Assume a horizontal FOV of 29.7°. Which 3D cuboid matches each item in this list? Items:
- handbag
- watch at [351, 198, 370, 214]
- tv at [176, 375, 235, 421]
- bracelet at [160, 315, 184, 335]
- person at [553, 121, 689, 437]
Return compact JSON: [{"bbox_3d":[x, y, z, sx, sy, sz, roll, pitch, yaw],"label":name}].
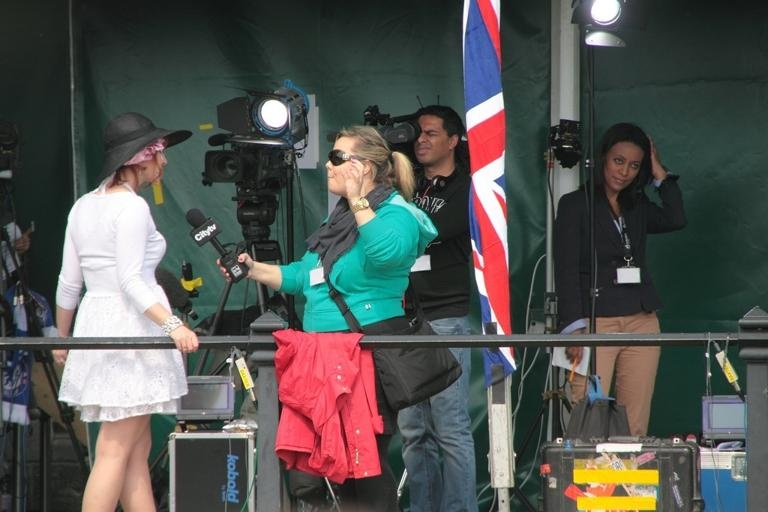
[{"bbox_3d":[0.184,0.679,8.980,0.590,0.603,0.306,0,-7,-20],"label":"handbag"},{"bbox_3d":[-0.162,-0.310,9.039,0.097,0.096,0.036,-31,-23,10],"label":"watch"},{"bbox_3d":[-1.200,0.979,9.874,0.526,0.271,0.366,0,-1,-1],"label":"tv"},{"bbox_3d":[-1.313,0.433,8.916,0.072,0.101,0.127,37,-31,-22],"label":"bracelet"},{"bbox_3d":[1.755,0.173,10.793,0.937,2.394,0.807,0,0,9],"label":"person"}]
